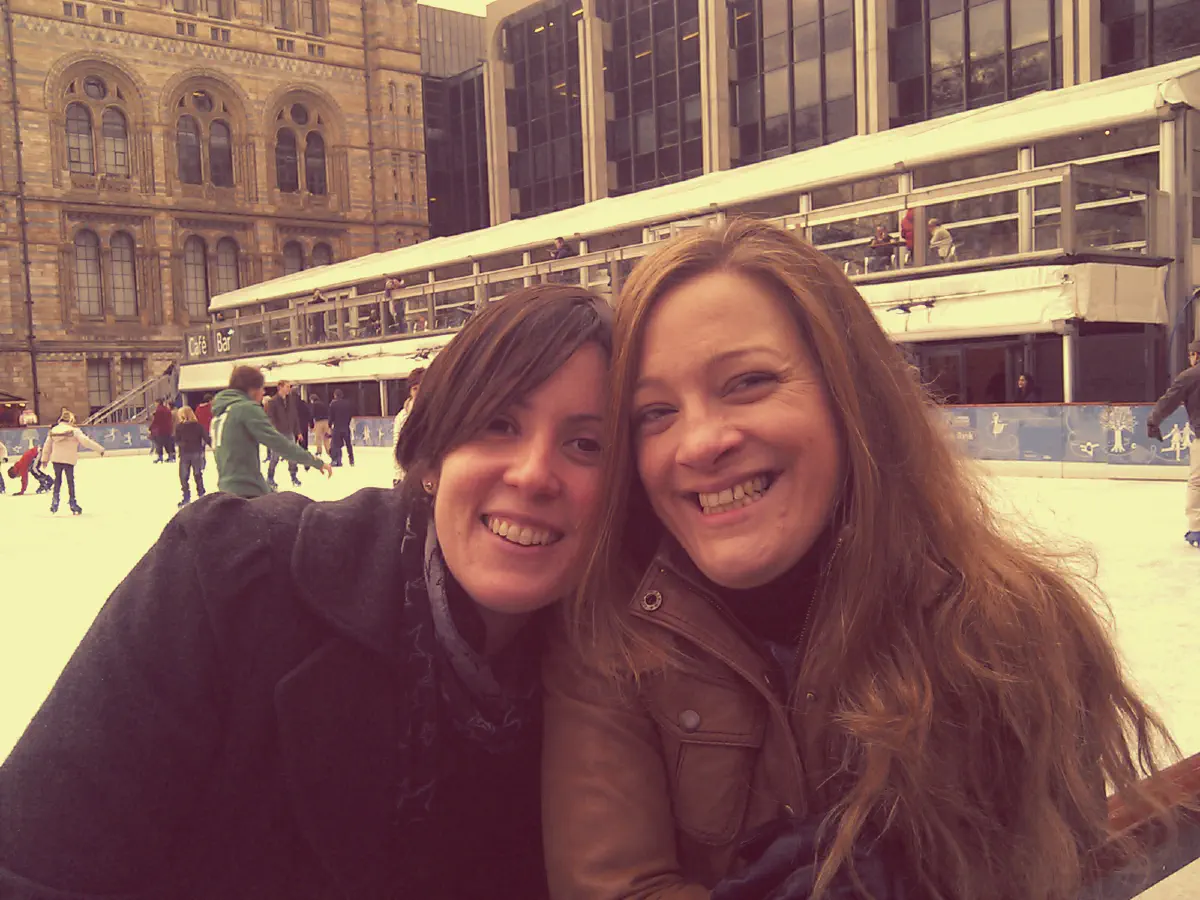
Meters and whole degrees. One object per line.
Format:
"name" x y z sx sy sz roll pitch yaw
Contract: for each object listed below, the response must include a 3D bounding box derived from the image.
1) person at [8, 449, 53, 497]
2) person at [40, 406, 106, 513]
"person" -9.994 0.428 20.650 0.634 0.736 0.865 1 -21 -44
"person" -7.377 0.160 16.385 0.685 1.531 0.388 2 -20 -26
